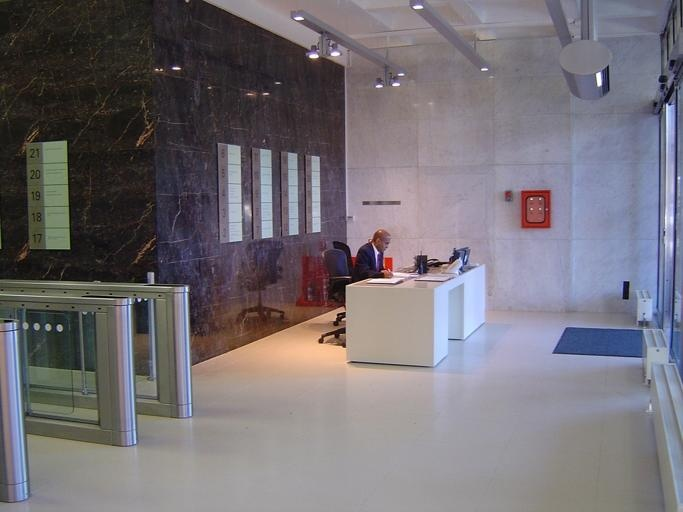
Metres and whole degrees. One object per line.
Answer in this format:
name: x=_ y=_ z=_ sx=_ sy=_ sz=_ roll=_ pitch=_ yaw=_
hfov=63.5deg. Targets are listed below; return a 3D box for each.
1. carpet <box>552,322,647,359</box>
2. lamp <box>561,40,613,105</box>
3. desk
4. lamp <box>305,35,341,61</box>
carpet: x=3.809 y=1.258 z=8.122 sx=1.088 sy=0.025 sz=1.900 roll=3 pitch=7 yaw=29
lamp: x=2.765 y=-2.008 z=6.210 sx=0.599 sy=0.758 sz=0.552 roll=-6 pitch=-37 yaw=20
desk: x=1.224 y=0.819 z=7.726 sx=1.029 sy=1.081 sz=2.377 roll=5 pitch=9 yaw=43
lamp: x=-0.234 y=-2.714 z=7.137 sx=0.364 sy=0.310 sz=0.552 roll=-2 pitch=6 yaw=-8
